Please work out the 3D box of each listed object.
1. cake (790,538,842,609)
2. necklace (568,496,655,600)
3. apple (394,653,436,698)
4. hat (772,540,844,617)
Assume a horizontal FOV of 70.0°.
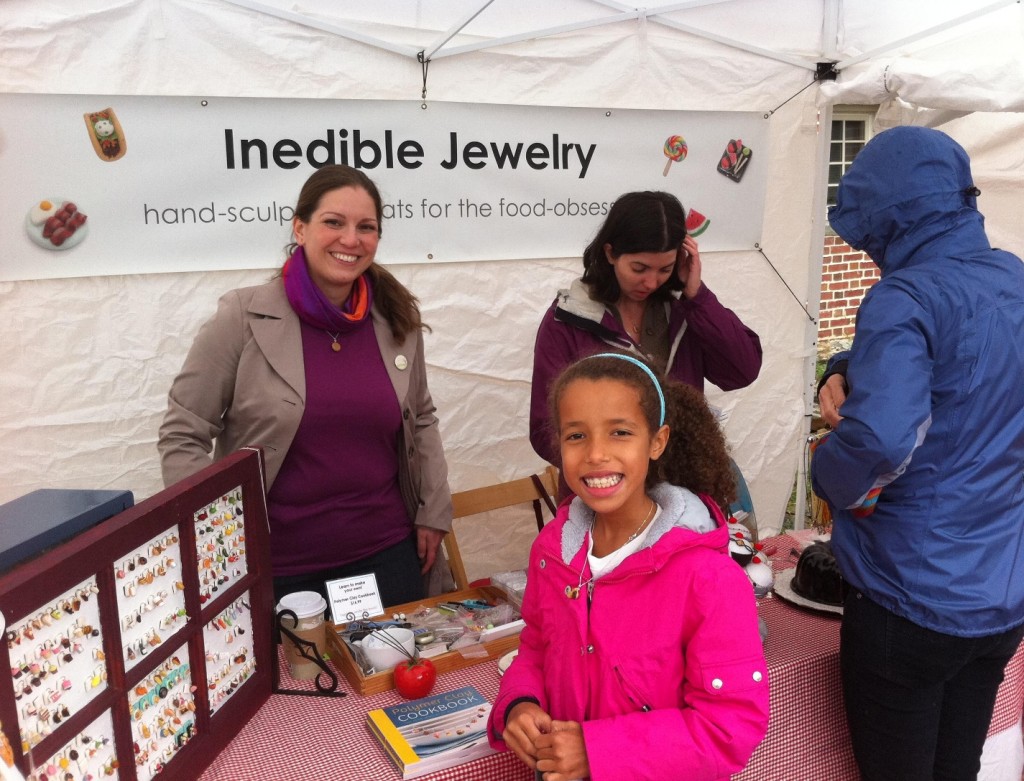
[{"bbox_3d":[0.892,0.526,2.175,0.164,0.180,0.157,6,7,38],"label":"cake"},{"bbox_3d":[0.201,0.333,1.500,0.112,0.162,0.066,25,12,40],"label":"necklace"},{"bbox_3d":[-0.219,0.665,1.689,0.083,0.089,0.085,0,3,6],"label":"apple"},{"bbox_3d":[0.850,0.538,2.095,0.179,0.063,0.182,3,5,38],"label":"hat"}]
